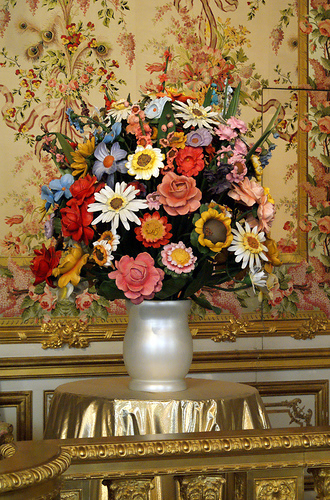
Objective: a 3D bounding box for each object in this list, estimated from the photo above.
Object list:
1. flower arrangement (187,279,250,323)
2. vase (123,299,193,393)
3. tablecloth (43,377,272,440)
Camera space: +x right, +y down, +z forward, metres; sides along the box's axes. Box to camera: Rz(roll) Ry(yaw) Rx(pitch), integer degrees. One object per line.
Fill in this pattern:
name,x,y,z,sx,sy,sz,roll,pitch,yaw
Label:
flower arrangement,0.212,0.207,3.025,0.281,0.197,0.310,0,0,-8
vase,-0.010,0.210,1.589,0.140,0.188,0.157,-3,2,-42
tablecloth,-0.020,0.336,1.498,0.342,0.063,0.302,0,-9,-5
